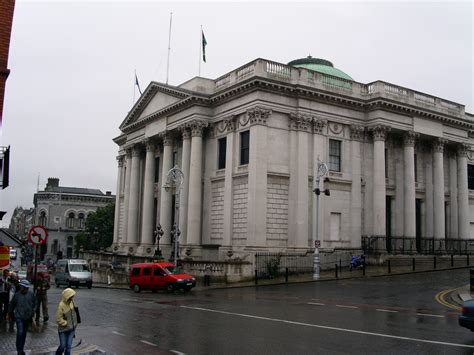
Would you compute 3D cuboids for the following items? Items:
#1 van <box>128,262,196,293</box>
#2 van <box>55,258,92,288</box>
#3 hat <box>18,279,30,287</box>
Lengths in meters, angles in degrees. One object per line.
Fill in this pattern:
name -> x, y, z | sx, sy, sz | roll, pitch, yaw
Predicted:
van -> -5.174, 6.901, 37.473 | 4.247, 1.736, 2.148 | -12, -15, 33
van -> -14.655, 8.557, 47.639 | 2.433, 2.523, 4.894 | 6, -16, -29
hat -> -7.860, 3.890, 19.544 | 0.414, 0.156, 0.369 | 22, -11, -17
